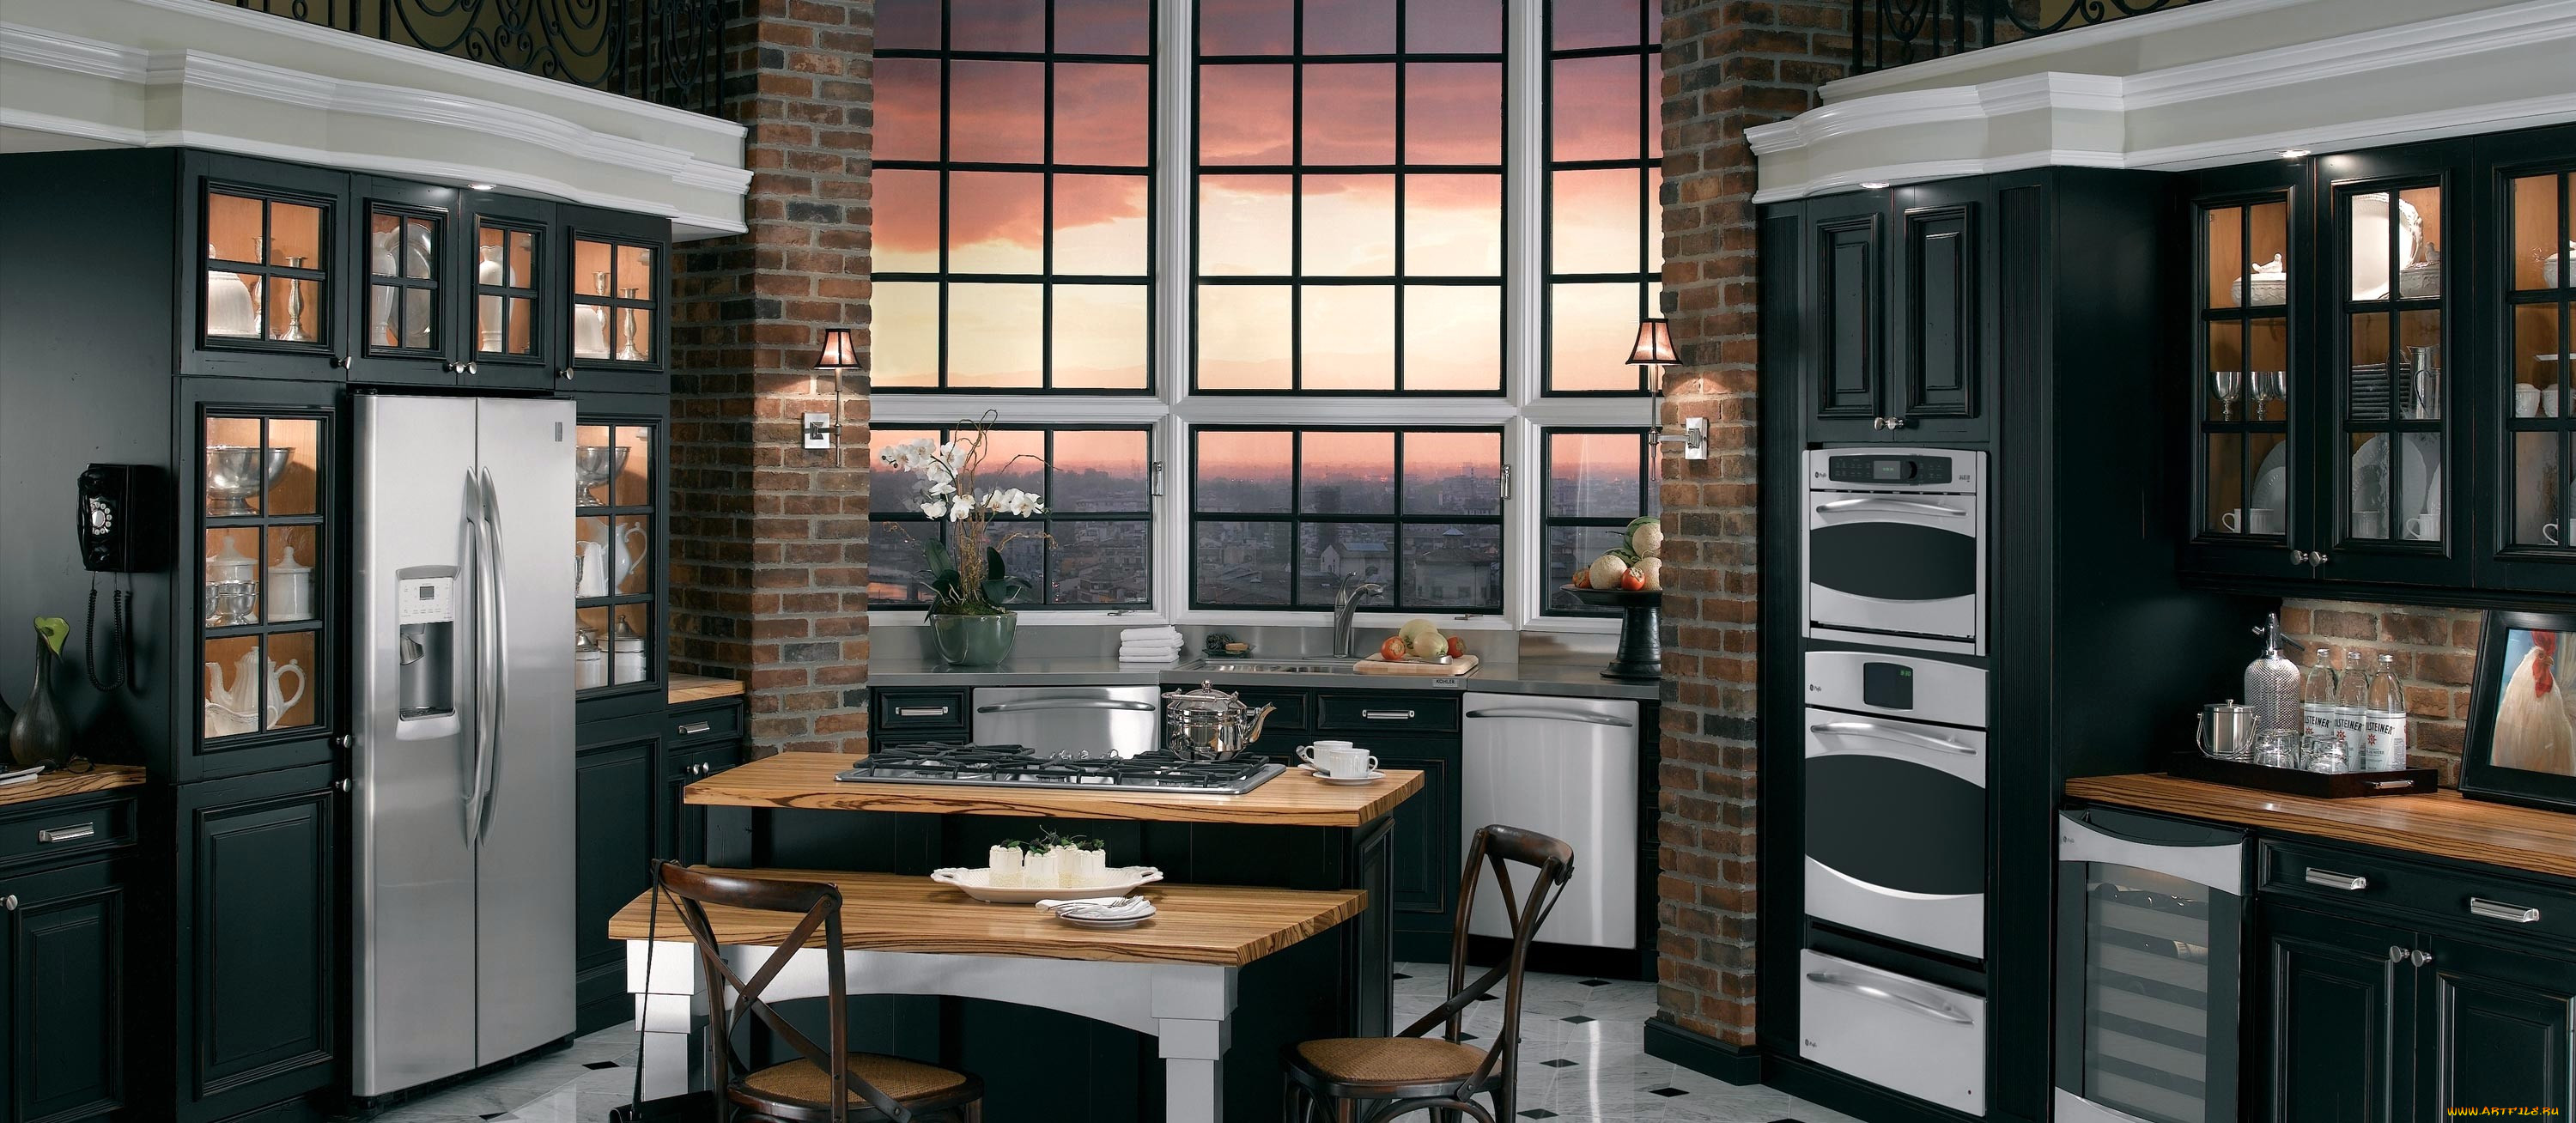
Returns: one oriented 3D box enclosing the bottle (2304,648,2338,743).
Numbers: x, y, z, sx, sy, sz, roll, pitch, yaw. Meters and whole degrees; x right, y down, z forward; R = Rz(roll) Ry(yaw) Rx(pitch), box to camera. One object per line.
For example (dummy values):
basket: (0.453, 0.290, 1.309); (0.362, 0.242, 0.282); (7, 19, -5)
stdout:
bottle: (5.190, 0.701, 8.451); (0.143, 0.351, 0.183); (1, 6, 27)

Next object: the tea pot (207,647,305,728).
tea pot: (-5.435, 0.684, 8.793); (0.371, 0.398, 0.497); (4, 0, 31)

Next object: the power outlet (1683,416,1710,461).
power outlet: (2.292, -0.694, 9.434); (0.202, 0.202, 0.072); (1, 3, 21)

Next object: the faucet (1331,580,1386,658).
faucet: (0.407, 0.376, 11.116); (0.194, 0.476, 0.395); (3, 7, 42)

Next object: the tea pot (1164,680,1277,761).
tea pot: (-0.389, 0.828, 8.732); (0.623, 0.314, 0.448); (5, 6, 30)

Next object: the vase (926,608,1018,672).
vase: (-2.010, 0.503, 10.685); (0.515, 0.224, 0.436); (-1, -2, 4)

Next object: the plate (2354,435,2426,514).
plate: (5.379, -0.433, 8.202); (0.304, 0.345, 0.067); (0, 6, 22)

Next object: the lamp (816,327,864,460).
lamp: (-2.729, -1.052, 10.267); (0.262, 0.771, 0.147); (-4, 6, -21)

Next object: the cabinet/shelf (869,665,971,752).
cabinet/shelf: (-2.227, 0.899, 10.590); (0.769, 0.541, 0.447); (0, 0, -6)

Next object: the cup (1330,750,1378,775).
cup: (0.332, 1.003, 8.388); (0.218, 0.111, 0.136); (0, 3, -3)

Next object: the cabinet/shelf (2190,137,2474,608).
cabinet/shelf: (5.147, -0.929, 8.303); (1.238, 2.159, 0.292); (1, 6, 25)

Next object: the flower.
flower: (-2.106, -0.318, 10.897); (1.043, 1.266, 0.582); (-2, 5, -8)

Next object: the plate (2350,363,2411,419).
plate: (5.248, -0.829, 8.110); (0.309, 0.223, 0.070); (3, 4, 20)

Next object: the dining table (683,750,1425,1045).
dining table: (-1.041, 1.672, 8.437); (3.039, 1.104, 1.366); (6, 4, -1)

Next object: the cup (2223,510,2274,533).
cup: (4.875, -0.206, 8.536); (0.168, 0.087, 0.117); (-1, -1, 27)

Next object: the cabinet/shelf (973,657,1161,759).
cabinet/shelf: (-1.440, 0.865, 10.689); (1.043, 0.704, 0.608); (0, -2, -7)
